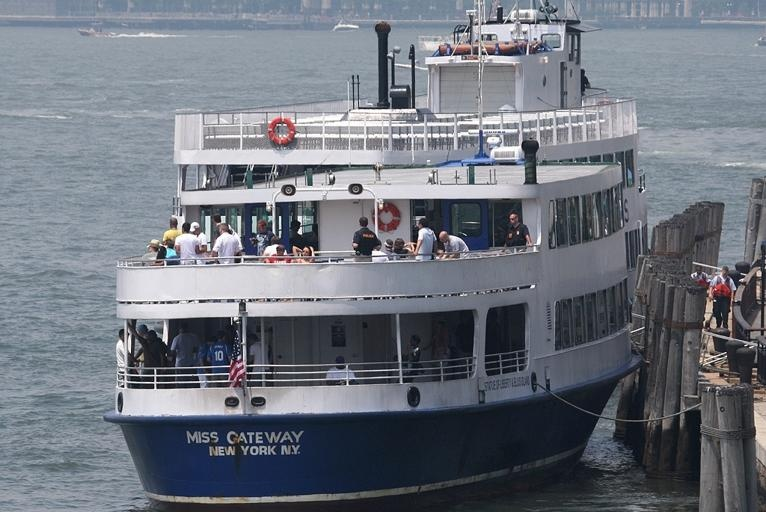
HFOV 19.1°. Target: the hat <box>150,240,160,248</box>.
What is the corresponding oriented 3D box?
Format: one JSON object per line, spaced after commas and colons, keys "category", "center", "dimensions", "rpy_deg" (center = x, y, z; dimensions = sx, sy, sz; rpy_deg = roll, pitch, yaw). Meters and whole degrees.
{"category": "hat", "center": [-12.254, -0.677, 121.930], "dimensions": [0.667, 0.261, 0.731], "rpy_deg": [2, -2, -2]}
